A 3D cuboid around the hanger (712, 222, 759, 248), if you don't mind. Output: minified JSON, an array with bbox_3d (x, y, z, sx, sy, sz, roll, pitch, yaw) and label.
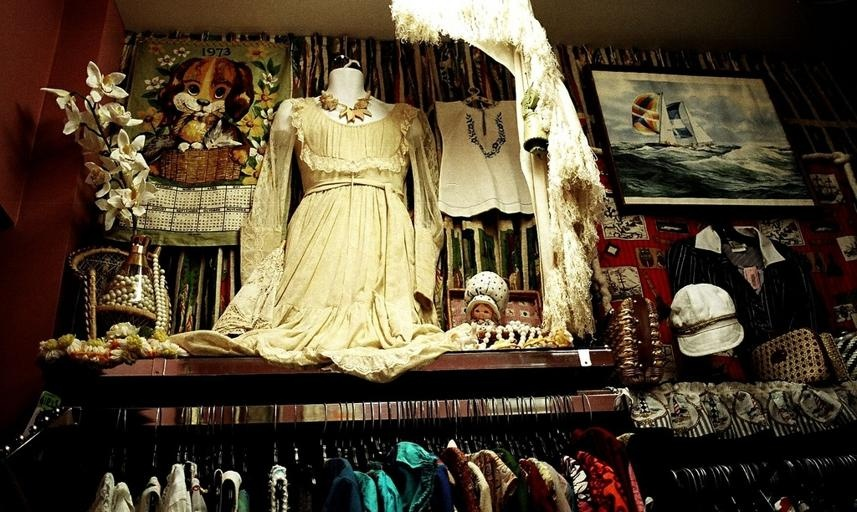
[{"bbox_3d":[2.301,-0.147,4.074,0.249,0.081,0.188,6,23,6],"label":"hanger"}]

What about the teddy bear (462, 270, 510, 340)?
[{"bbox_3d":[0.362,0.287,3.267,0.307,0.385,0.307,3,-31,5],"label":"teddy bear"}]

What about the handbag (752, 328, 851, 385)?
[{"bbox_3d":[2.334,0.633,3.441,0.419,0.406,0.139,7,-19,37],"label":"handbag"}]

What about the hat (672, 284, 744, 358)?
[{"bbox_3d":[1.775,0.372,3.575,0.378,0.514,0.303,-11,-64,6],"label":"hat"}]

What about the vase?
[{"bbox_3d":[-1.733,0.131,3.181,0.308,0.502,0.350,-2,-13,37],"label":"vase"}]

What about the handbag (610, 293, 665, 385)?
[{"bbox_3d":[1.199,0.469,3.161,0.258,0.513,0.464,-12,-21,23],"label":"handbag"}]

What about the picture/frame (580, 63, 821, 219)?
[{"bbox_3d":[2.077,-0.856,4.267,1.654,1.117,0.059,-1,-31,-9],"label":"picture/frame"}]

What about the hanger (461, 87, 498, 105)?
[{"bbox_3d":[0.376,-1.194,4.182,0.187,0.180,0.044,-31,-22,-14],"label":"hanger"}]
